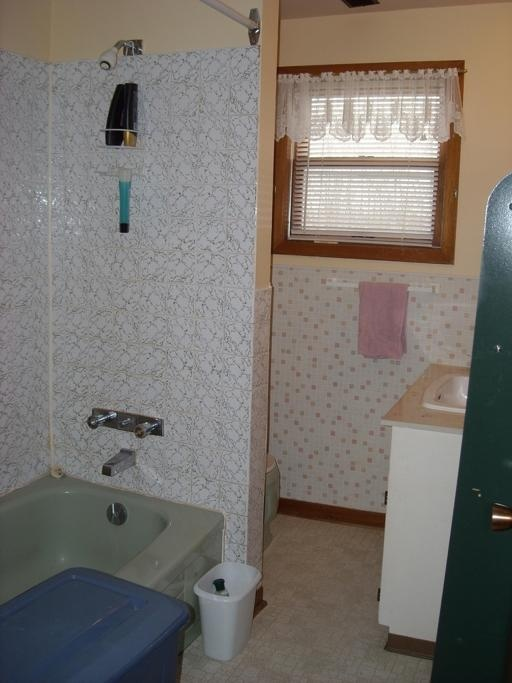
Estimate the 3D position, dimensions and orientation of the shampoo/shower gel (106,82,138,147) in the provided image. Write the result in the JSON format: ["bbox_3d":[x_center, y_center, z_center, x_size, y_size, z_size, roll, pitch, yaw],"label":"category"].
[{"bbox_3d":[-0.488,-0.817,2.074,0.115,0.221,0.078,1,6,-16],"label":"shampoo/shower gel"}]

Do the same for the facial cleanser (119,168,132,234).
[{"bbox_3d":[-0.503,-0.534,2.185,0.045,0.234,0.038,1,6,-18],"label":"facial cleanser"}]

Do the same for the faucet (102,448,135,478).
[{"bbox_3d":[-0.531,0.474,2.195,0.084,0.075,0.153,7,11,20],"label":"faucet"}]
